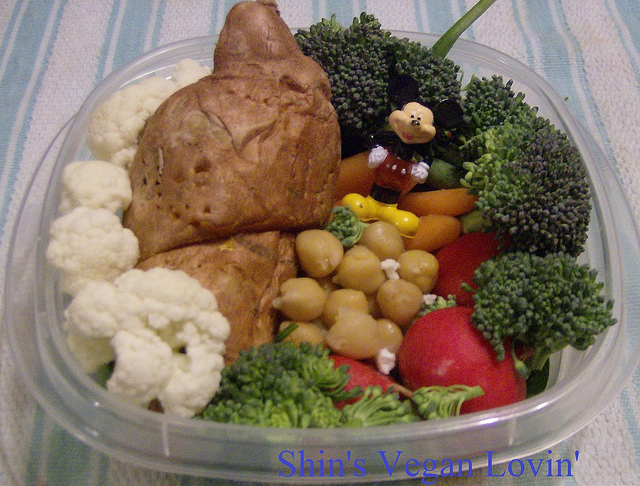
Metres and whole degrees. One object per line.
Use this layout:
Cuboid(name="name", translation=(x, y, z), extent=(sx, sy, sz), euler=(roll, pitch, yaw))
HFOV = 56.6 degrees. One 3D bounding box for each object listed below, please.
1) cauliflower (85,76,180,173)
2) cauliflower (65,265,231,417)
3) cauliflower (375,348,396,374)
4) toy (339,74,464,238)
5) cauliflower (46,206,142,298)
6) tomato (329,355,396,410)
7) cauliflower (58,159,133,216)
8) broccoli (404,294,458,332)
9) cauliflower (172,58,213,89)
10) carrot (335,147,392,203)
Cuboid(name="cauliflower", translation=(-0.598, -0.388, 1.867), extent=(0.217, 0.214, 0.314), euler=(24, 53, 9))
Cuboid(name="cauliflower", translation=(-0.455, 0.244, 1.599), extent=(0.461, 0.166, 0.404), euler=(26, 81, -14))
Cuboid(name="cauliflower", translation=(0.195, 0.348, 1.744), extent=(0.058, 0.068, 0.026), euler=(-2, 11, -8))
Cuboid(name="toy", translation=(0.248, -0.264, 1.891), extent=(0.355, 0.547, 0.265), euler=(-1, 12, 16))
Cuboid(name="cauliflower", translation=(-0.616, 0.015, 1.592), extent=(0.218, 0.080, 0.247), euler=(11, 81, -3))
Cuboid(name="tomato", translation=(0.127, 0.398, 1.692), extent=(0.155, 0.095, 0.122), euler=(1, 0, -3))
Cuboid(name="cauliflower", translation=(-0.620, -0.164, 1.749), extent=(0.193, 0.161, 0.195), euler=(5, 15, 23))
Cuboid(name="broccoli", translation=(0.346, 0.189, 1.829), extent=(0.113, 0.129, 0.117), euler=(1, 13, 2))
Cuboid(name="cauliflower", translation=(-0.420, -0.552, 1.916), extent=(0.119, 0.053, 0.142), euler=(0, 38, 1))
Cuboid(name="carrot", translation=(0.152, -0.241, 2.000), extent=(0.102, 0.179, 0.154), euler=(-10, 17, -37))
